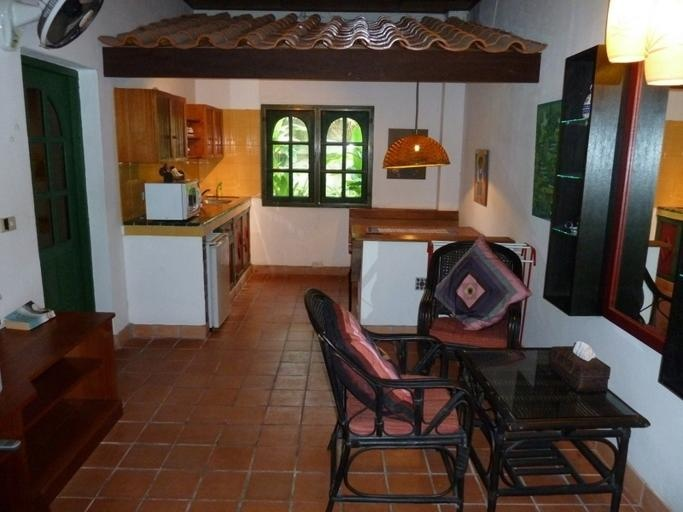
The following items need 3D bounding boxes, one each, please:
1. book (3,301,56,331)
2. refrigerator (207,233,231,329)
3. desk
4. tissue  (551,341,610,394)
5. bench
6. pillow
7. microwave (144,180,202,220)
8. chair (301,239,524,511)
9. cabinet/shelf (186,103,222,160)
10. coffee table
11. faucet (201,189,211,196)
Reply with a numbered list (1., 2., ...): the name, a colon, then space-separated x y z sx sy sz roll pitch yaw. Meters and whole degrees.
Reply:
1. book: -2.029 0.353 3.497 0.194 0.071 0.195 10 16 7
2. refrigerator: -1.284 0.260 5.634 0.192 0.997 0.452 -1 15 4
3. desk: 0.602 0.210 6.209 1.166 0.769 1.225 1 15 4
4. tissue : 1.411 0.586 3.191 0.245 0.203 0.410 0 7 3
5. bench: 0.811 0.060 7.036 1.554 0.961 1.008 -1 5 -1
6. pillow: 1.077 0.257 4.171 0.198 0.662 0.659 7 41 -53
7. microwave: -1.726 -0.572 5.448 0.396 0.345 0.522 1 15 -3
8. chair: 0.294 0.842 3.363 0.965 1.304 1.018 0 15 9
9. cabinet/shelf: -1.751 -1.585 6.849 0.327 0.681 0.950 -4 15 -5
10. coffee table: 1.142 0.909 3.277 0.921 0.896 1.158 -2 12 0
11. faucet: -1.883 -0.882 7.440 0.144 0.065 0.097 3 9 1
